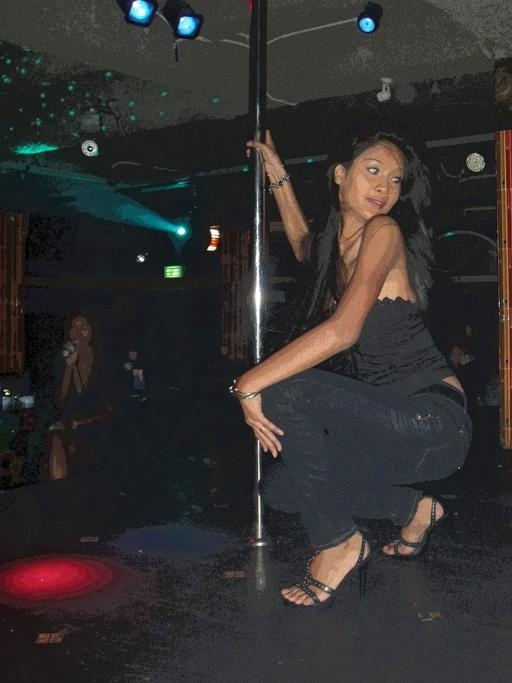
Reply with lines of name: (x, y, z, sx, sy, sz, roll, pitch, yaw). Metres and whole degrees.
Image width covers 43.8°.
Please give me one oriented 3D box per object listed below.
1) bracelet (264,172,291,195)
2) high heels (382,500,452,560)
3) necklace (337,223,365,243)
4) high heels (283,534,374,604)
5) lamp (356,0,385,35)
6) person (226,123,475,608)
bracelet: (0.097, -0.698, 2.816, 0.095, 0.055, 0.026, -29, -8, 14)
high heels: (0.607, 0.707, 2.406, 0.093, 0.302, 0.150, -10, 51, -51)
necklace: (0.345, -0.388, 2.325, 0.094, 0.019, 0.084, 1, -4, -35)
high heels: (0.230, 0.762, 2.162, 0.319, 0.117, 0.154, -19, 4, -24)
lamp: (0.763, -2.160, 4.241, 0.147, 0.230, 0.175, 1, 2, 13)
person: (0.321, -0.012, 2.331, 0.807, 1.693, 0.845, 0, 2, -3)
